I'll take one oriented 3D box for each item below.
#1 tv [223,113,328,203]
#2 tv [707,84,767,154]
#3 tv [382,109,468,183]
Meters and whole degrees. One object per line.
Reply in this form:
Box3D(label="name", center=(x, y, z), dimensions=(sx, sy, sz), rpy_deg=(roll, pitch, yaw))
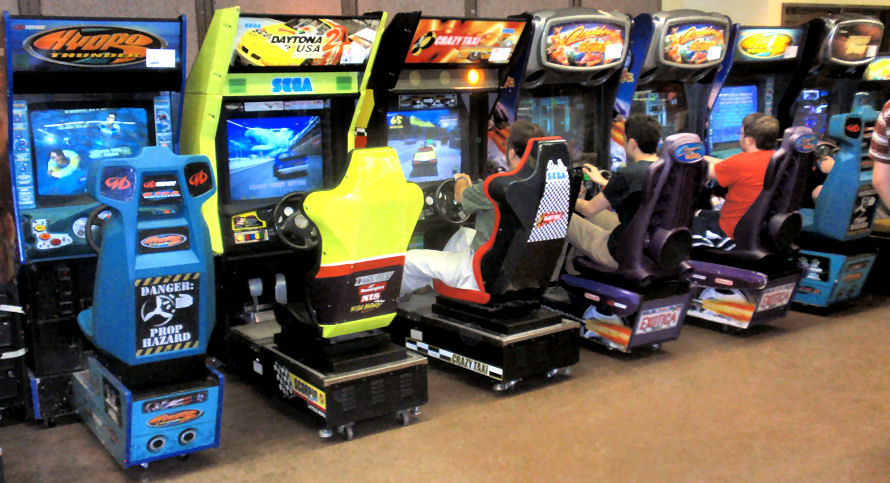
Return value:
Box3D(label="tv", center=(-1.521, -0.738, 5.695), dimensions=(1.052, 0.695, 0.048), rpy_deg=(-5, 8, -26))
Box3D(label="tv", center=(3.278, -1.377, 7.432), dimensions=(1.123, 1.026, 0.122), rpy_deg=(-10, 19, -29))
Box3D(label="tv", center=(-0.212, -0.905, 6.070), dimensions=(1.090, 0.796, 0.104), rpy_deg=(-1, 2, -24))
